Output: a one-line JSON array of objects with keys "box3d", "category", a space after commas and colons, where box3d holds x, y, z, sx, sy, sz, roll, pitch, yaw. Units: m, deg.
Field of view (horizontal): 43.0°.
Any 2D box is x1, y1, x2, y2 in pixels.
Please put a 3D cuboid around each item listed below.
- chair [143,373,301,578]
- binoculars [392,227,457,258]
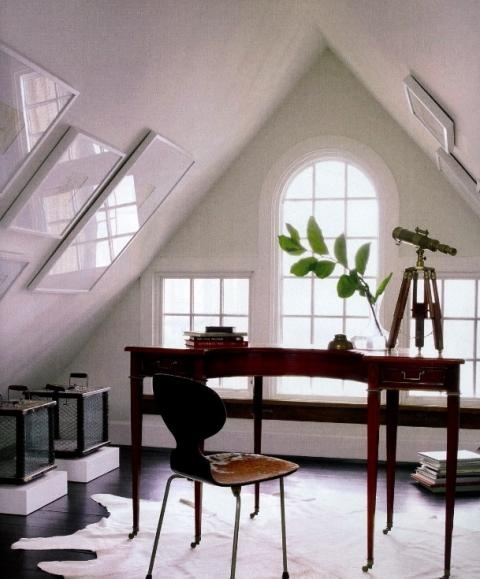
[{"box3d": [-0.083, 0.723, 2.336, 0.550, 0.815, 0.521, 1, 1, -10], "category": "chair"}, {"box3d": [0.965, -0.263, 3.189, 0.187, 0.168, 0.438, 1, 0, -8], "category": "binoculars"}]
